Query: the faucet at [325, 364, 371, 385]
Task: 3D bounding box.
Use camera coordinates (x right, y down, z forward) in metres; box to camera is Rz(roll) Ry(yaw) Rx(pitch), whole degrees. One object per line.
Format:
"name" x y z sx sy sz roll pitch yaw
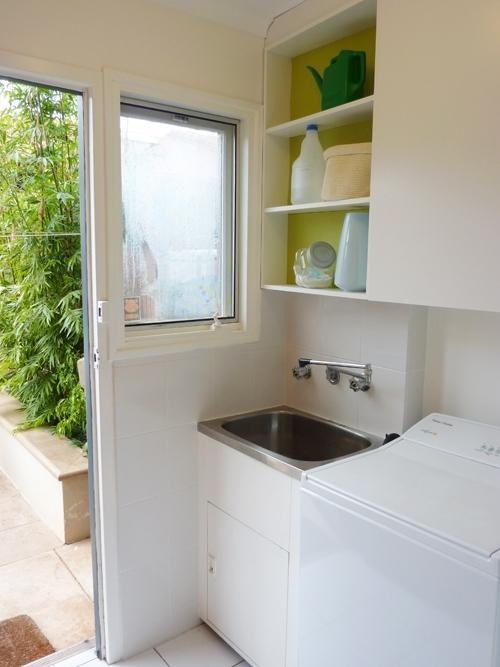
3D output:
"faucet" 0.342 0.126 1.806 0.056 0.104 0.168 -3 9 -26

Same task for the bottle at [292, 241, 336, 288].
"bottle" 0.210 -0.221 1.798 0.119 0.178 0.185 -4 1 -7
